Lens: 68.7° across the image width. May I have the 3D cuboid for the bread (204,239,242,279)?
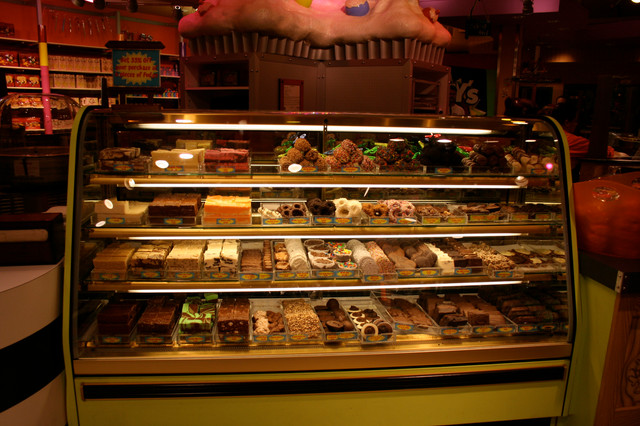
[{"bbox_3d":[-0.814,0.399,3.896,0.347,0.162,0.399,0,14,-6],"label":"bread"}]

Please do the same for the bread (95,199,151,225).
[{"bbox_3d":[-1.604,-0.009,3.775,0.407,0.195,0.171,-3,9,-15],"label":"bread"}]

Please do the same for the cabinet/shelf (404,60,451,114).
[{"bbox_3d":[1.163,-1.296,4.921,0.379,0.518,0.847,0,9,14],"label":"cabinet/shelf"}]

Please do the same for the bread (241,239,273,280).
[{"bbox_3d":[-0.542,0.402,3.954,0.339,0.104,0.483,-1,30,-7],"label":"bread"}]

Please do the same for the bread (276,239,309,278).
[{"bbox_3d":[-0.253,0.377,3.980,0.252,0.096,0.370,0,19,-5],"label":"bread"}]

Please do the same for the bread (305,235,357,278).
[{"bbox_3d":[0.088,0.365,3.964,0.372,0.078,0.441,-1,23,-11],"label":"bread"}]

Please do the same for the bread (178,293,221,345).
[{"bbox_3d":[-1.000,0.861,3.854,0.273,0.106,0.363,1,24,-6],"label":"bread"}]

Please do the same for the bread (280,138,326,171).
[{"bbox_3d":[-0.148,-0.489,3.846,0.391,0.274,0.151,-2,10,-4],"label":"bread"}]

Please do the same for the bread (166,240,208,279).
[{"bbox_3d":[-1.121,0.381,3.920,0.300,0.261,0.347,-3,9,-5],"label":"bread"}]

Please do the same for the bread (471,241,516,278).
[{"bbox_3d":[1.512,0.418,4.068,0.286,0.091,0.439,-11,28,-16],"label":"bread"}]

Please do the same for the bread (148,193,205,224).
[{"bbox_3d":[-1.194,-0.034,3.792,0.372,0.121,0.288,-1,16,-6],"label":"bread"}]

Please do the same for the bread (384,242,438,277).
[{"bbox_3d":[0.784,0.395,4.059,0.377,0.089,0.318,-3,19,-11],"label":"bread"}]

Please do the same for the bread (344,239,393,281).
[{"bbox_3d":[0.400,0.395,4.035,0.276,0.097,0.383,-1,20,-13],"label":"bread"}]

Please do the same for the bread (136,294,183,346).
[{"bbox_3d":[-1.309,0.865,3.846,0.279,0.121,0.386,0,21,-6],"label":"bread"}]

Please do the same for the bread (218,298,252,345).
[{"bbox_3d":[-0.648,0.946,3.874,0.347,0.211,0.521,-1,13,-6],"label":"bread"}]

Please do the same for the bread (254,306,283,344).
[{"bbox_3d":[-0.426,0.928,3.849,0.234,0.077,0.297,0,17,-6],"label":"bread"}]

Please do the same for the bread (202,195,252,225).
[{"bbox_3d":[-0.765,-0.012,3.786,0.366,0.111,0.283,1,16,-3],"label":"bread"}]

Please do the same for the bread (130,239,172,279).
[{"bbox_3d":[-1.359,0.385,3.843,0.310,0.171,0.413,0,19,-7],"label":"bread"}]
